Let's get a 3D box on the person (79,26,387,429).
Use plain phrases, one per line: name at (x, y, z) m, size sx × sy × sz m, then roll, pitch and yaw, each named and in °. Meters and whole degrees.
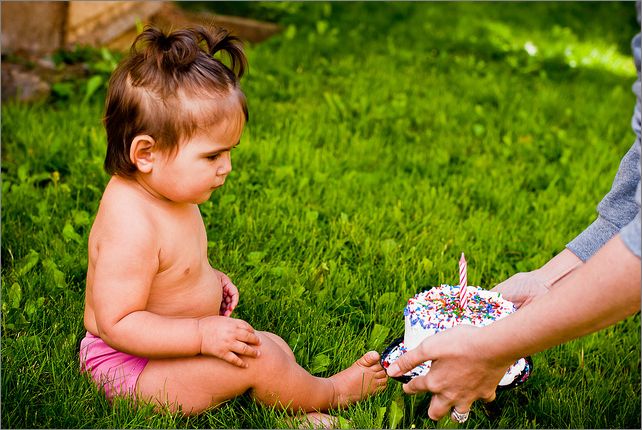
person at (-0.467, 0.097, 2.650) m, size 1.182 × 1.693 × 1.078 m, roll 14°, pitch 19°, yaw 32°
